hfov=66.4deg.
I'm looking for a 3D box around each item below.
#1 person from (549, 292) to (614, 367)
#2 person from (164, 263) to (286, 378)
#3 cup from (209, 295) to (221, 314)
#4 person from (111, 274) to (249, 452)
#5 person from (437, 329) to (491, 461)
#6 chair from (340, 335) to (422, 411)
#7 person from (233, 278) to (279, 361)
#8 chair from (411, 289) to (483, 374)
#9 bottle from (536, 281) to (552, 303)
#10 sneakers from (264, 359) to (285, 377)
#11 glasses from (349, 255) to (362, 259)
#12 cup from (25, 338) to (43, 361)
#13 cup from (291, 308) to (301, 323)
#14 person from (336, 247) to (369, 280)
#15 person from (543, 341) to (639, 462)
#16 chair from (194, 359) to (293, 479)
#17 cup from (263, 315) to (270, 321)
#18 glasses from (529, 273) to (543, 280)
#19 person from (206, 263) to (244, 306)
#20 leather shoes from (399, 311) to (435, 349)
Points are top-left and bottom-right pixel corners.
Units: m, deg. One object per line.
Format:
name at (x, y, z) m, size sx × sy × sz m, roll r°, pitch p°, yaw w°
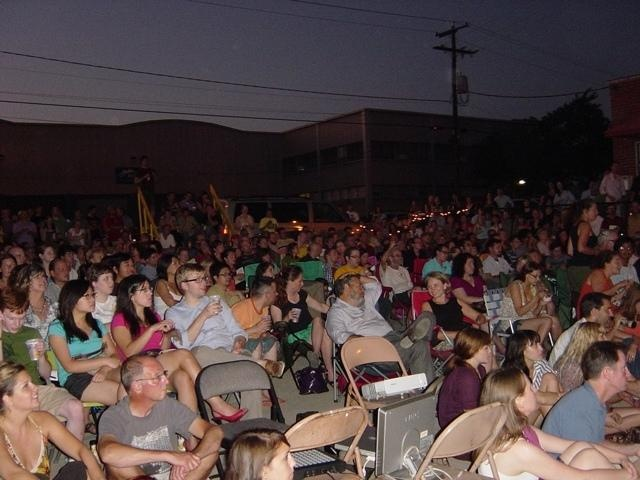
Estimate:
person at (3.303, 1.340, 6.165) m, size 0.538 × 1.470 × 0.426 m, roll 5°, pitch 7°, yaw 10°
person at (-1.072, 0.975, 5.447) m, size 1.469 × 1.157 × 0.784 m, roll 17°, pitch 24°, yaw 28°
cup at (-1.134, 0.702, 5.282) m, size 0.113 × 0.116 × 0.170 m, roll -24°, pitch 37°, yaw -9°
person at (-1.441, 1.202, 4.976) m, size 1.344 × 1.752 × 0.710 m, roll -4°, pitch -6°, yaw 10°
person at (1.342, 1.549, 4.435) m, size 0.486 × 1.596 × 0.603 m, roll -4°, pitch 20°, yaw 8°
chair at (0.656, 1.439, 5.287) m, size 0.697 × 0.948 × 0.712 m, roll 4°, pitch -32°, yaw -20°
person at (-0.770, 1.219, 6.451) m, size 0.648 × 1.377 × 0.548 m, roll -4°, pitch -6°, yaw 20°
chair at (1.798, 1.222, 6.898) m, size 0.858 × 1.045 × 1.019 m, roll 2°, pitch -9°, yaw -20°
bottle at (3.456, 0.803, 7.584) m, size 0.098 × 0.356 × 0.259 m, roll -24°, pitch -11°, yaw 30°
sneakers at (-0.493, 1.430, 5.426) m, size 0.108 × 0.134 × 0.291 m, roll -1°, pitch -3°, yaw -43°
glasses at (0.646, 0.305, 8.968) m, size 0.213 × 0.090 × 0.096 m, roll -6°, pitch 2°, yaw -44°
cup at (-2.584, 1.006, 4.519) m, size 0.186 × 0.204 × 0.194 m, roll -2°, pitch -11°, yaw 0°
cup at (-0.343, 1.047, 6.750) m, size 0.150 × 0.180 × 0.154 m, roll 1°, pitch -1°, yaw 0°
person at (0.558, 0.473, 9.095) m, size 0.369 × 0.635 × 0.755 m, roll -8°, pitch -5°, yaw 29°
person at (2.207, 1.327, 4.334) m, size 0.788 × 0.961 × 0.906 m, roll -2°, pitch -6°, yaw 19°
chair at (-0.785, 1.566, 4.480) m, size 0.783 × 1.146 × 0.860 m, roll -2°, pitch -12°, yaw -25°
cup at (-0.675, 0.990, 6.233) m, size 0.054 × 0.036 × 0.056 m, roll 0°, pitch 2°, yaw 0°
glasses at (3.276, 0.553, 7.457) m, size 0.105 × 0.144 × 0.057 m, roll -2°, pitch 26°, yaw -42°
person at (-1.469, 0.711, 7.148) m, size 0.371 × 0.725 × 0.723 m, roll -10°, pitch 2°, yaw 7°
leather shoes at (1.208, 1.148, 6.001) m, size 0.551 × 0.260 × 0.232 m, roll -44°, pitch -3°, yaw -16°
